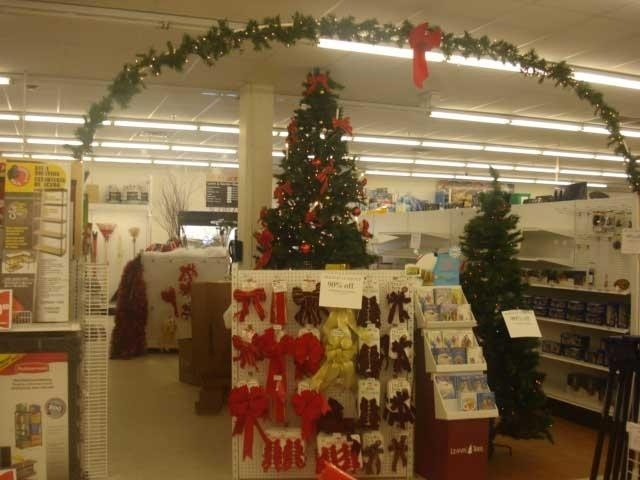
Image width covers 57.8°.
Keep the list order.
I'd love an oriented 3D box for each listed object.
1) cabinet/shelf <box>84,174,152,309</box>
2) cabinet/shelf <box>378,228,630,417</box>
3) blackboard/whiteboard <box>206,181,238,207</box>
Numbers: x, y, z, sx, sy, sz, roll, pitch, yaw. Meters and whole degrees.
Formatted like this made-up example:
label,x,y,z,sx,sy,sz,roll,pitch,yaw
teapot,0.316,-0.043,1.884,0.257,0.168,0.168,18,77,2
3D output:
label,x,y,z,sx,sy,sz,roll,pitch,yaw
cabinet/shelf,-4.740,-0.134,13.866,1.514,3.194,0.984,2,14,-13
cabinet/shelf,2.097,0.911,6.237,0.681,2.246,2.210,-1,2,-19
blackboard/whiteboard,-2.060,-0.979,12.226,0.627,0.555,0.326,0,6,-19
